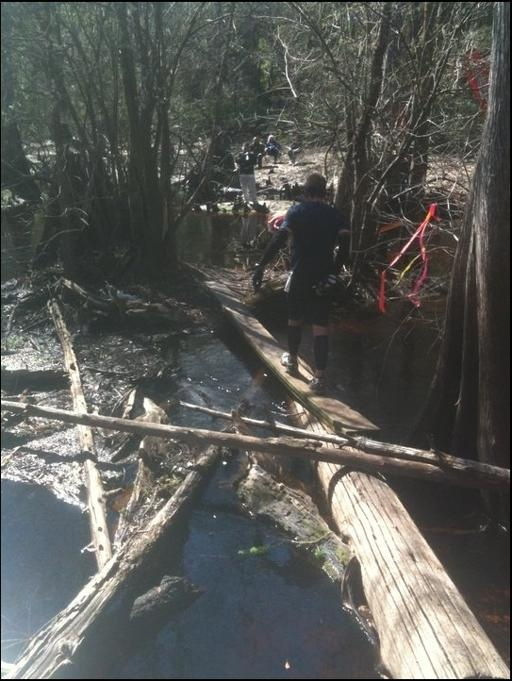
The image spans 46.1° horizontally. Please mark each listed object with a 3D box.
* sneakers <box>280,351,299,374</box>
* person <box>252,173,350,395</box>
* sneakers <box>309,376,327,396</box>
[{"bbox_3d":[0.348,0.225,6.376,0.103,0.122,0.279,-2,27,-6],"label":"sneakers"},{"bbox_3d":[0.523,-0.616,5.991,0.541,2.005,0.955,-12,22,-37],"label":"person"},{"bbox_3d":[0.600,0.435,5.796,0.091,0.109,0.232,-2,20,-2],"label":"sneakers"}]
